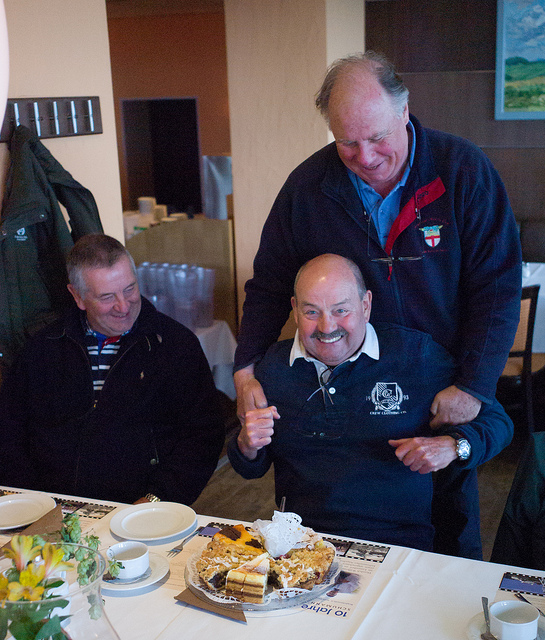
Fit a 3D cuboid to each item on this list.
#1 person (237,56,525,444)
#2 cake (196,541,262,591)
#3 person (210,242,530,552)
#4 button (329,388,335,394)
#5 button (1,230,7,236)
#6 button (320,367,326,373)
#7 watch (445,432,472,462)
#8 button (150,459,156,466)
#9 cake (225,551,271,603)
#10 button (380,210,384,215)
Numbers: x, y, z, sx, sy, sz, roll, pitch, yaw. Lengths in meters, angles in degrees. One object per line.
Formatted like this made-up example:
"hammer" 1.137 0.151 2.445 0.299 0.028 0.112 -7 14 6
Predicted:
"person" 0.301 -0.186 1.712 0.764 1.110 0.603 0 33 16
"cake" -0.090 0.470 1.089 0.071 0.025 0.083 -7 10 8
"person" 0.239 0.274 1.666 0.742 0.882 0.467 -3 9 24
"button" 0.161 0.193 1.547 0.013 0.016 0.004 -1 6 9
"button" -0.957 -0.319 2.071 0.018 0.020 0.004 -3 -3 -8
"button" 0.139 0.138 1.593 0.015 0.016 0.005 -2 4 -5
"watch" 0.462 0.318 1.419 0.049 0.070 0.045 -2 6 -7
"button" -0.396 0.482 1.935 0.021 0.022 0.005 0 0 -16
"cake" -0.044 0.475 1.039 0.084 0.060 0.083 -2 6 0
"button" 0.317 -0.318 1.673 0.011 0.011 0.003 2 2 1
